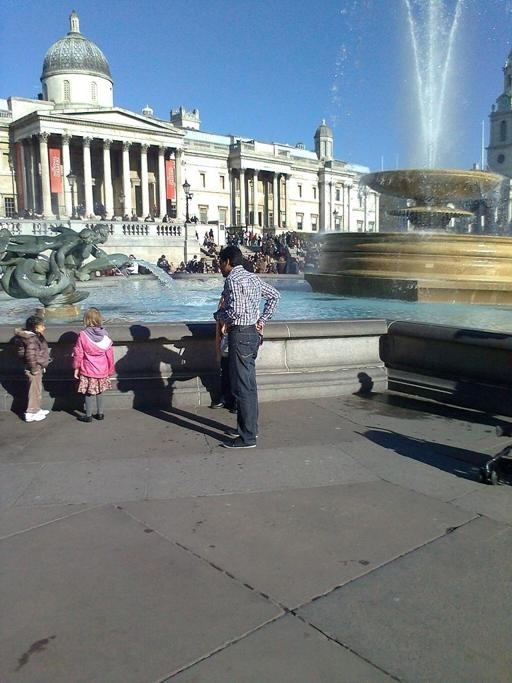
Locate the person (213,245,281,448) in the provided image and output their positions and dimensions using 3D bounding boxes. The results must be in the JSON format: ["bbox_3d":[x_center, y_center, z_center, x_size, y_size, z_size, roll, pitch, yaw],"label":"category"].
[{"bbox_3d":[-0.073,0.009,4.586,0.472,1.495,0.557,0,6,2],"label":"person"}]

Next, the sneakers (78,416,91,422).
[{"bbox_3d":[-1.499,0.670,5.254,0.054,0.060,0.155,0,6,-42],"label":"sneakers"}]

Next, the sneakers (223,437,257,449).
[{"bbox_3d":[-0.125,0.753,4.480,0.265,0.100,0.095,4,0,3],"label":"sneakers"}]

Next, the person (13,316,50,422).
[{"bbox_3d":[-1.955,0.229,5.239,0.260,0.900,0.293,-2,7,-22],"label":"person"}]

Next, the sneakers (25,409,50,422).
[{"bbox_3d":[-1.916,0.641,5.251,0.175,0.067,0.067,-16,18,-33],"label":"sneakers"}]

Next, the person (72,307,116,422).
[{"bbox_3d":[-1.447,0.175,5.360,0.331,0.970,0.469,-2,7,-15],"label":"person"}]
